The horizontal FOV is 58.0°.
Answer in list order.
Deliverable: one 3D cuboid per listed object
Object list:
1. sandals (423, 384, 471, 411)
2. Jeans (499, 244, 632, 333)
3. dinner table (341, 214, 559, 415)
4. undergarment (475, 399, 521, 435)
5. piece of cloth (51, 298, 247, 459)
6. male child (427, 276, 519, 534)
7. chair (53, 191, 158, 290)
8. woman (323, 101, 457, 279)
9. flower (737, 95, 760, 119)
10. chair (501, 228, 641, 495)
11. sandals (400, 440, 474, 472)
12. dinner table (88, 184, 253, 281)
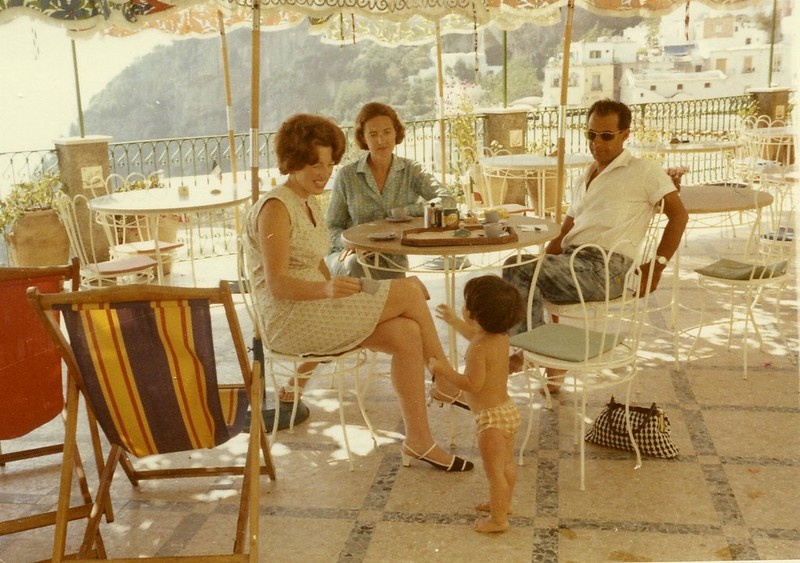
[{"bbox_3d":[0.274,0.657,4.034,0.239,0.098,0.177,27,2,19],"label":"sandals"},{"bbox_3d":[1.103,0.040,4.597,0.831,0.285,0.484,-17,14,0],"label":"Jeans"},{"bbox_3d":[0.318,0.151,4.679,1.142,0.780,1.088,-2,14,1],"label":"dinner table"},{"bbox_3d":[0.479,0.669,3.650,0.225,0.148,0.150,-8,-1,-32],"label":"undergarment"},{"bbox_3d":[-1.015,0.426,3.466,0.564,0.761,0.842,-5,-1,1],"label":"piece of cloth"},{"bbox_3d":[0.419,0.590,3.689,0.485,1.234,0.538,-5,12,-2],"label":"male child"},{"bbox_3d":[-2.636,-0.383,6.439,0.765,1.021,0.655,-13,33,-25],"label":"chair"},{"bbox_3d":[-0.103,-0.596,4.992,0.980,1.230,0.969,2,11,14],"label":"woman"},{"bbox_3d":[6.437,-3.247,13.313,0.283,0.385,0.775,1,11,23],"label":"flower"},{"bbox_3d":[1.127,0.305,4.521,0.762,1.295,1.798,-1,11,17],"label":"chair"},{"bbox_3d":[0.233,0.999,4.083,0.465,0.172,0.149,1,9,0],"label":"sandals"},{"bbox_3d":[-1.881,-0.683,6.053,1.126,0.649,1.063,-7,22,-20],"label":"dinner table"}]
